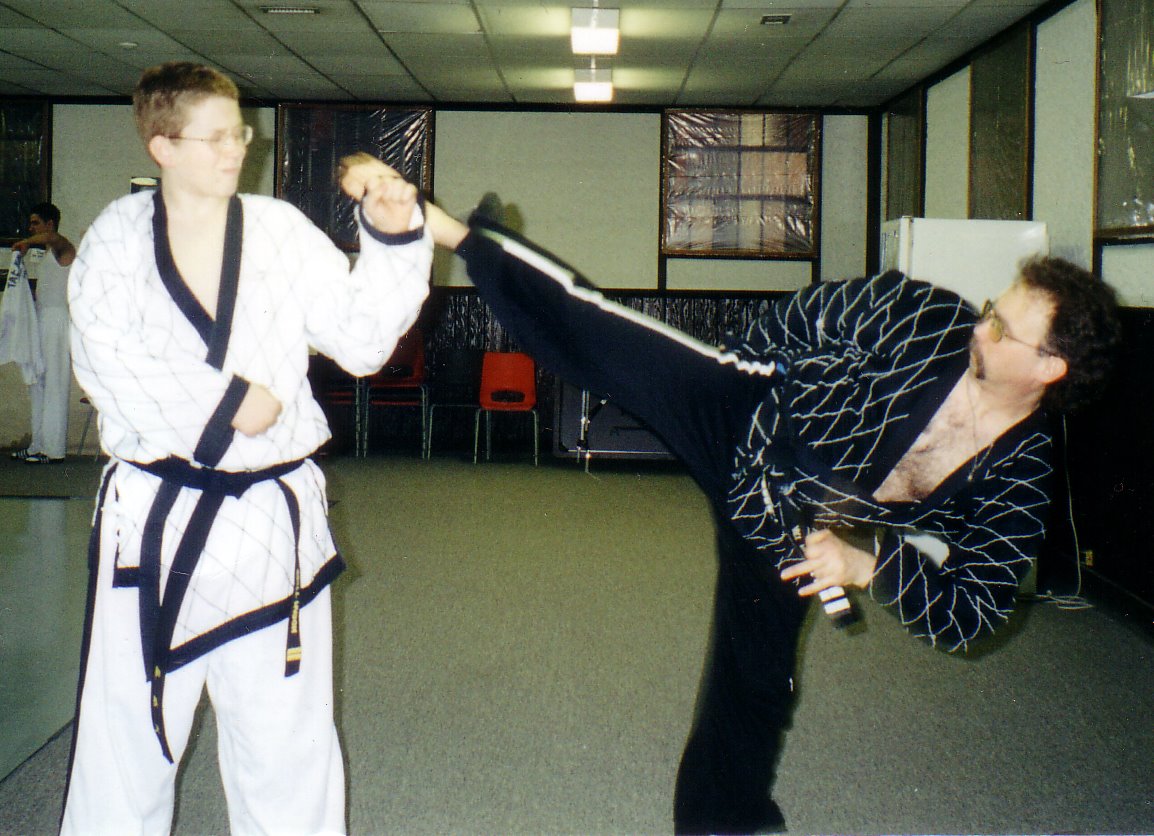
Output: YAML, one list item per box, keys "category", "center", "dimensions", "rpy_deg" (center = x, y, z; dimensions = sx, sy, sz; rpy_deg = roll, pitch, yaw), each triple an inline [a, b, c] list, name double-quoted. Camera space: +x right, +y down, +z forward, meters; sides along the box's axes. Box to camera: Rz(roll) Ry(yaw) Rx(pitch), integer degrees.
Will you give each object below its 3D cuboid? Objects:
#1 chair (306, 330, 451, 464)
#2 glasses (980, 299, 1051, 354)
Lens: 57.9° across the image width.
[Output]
- category: "chair"
  center: [-1.448, -0.215, 8.147]
  dimensions: [0.808, 1.433, 1.050]
  rpy_deg: [0, 11, -3]
- category: "glasses"
  center: [1.042, -0.219, 2.477]
  dimensions: [0.131, 0.039, 0.125]
  rpy_deg: [11, 18, -18]
